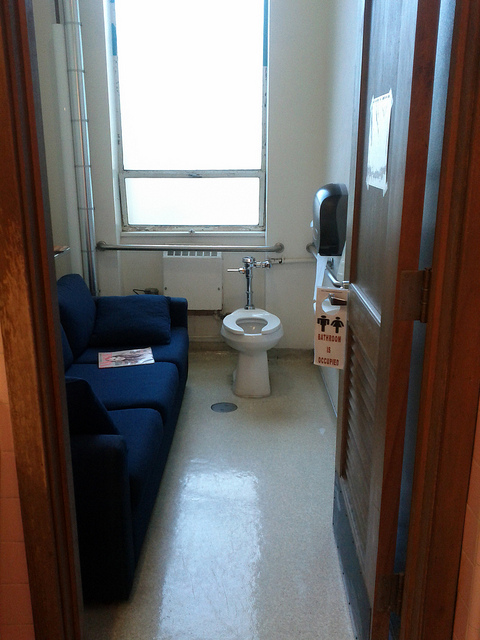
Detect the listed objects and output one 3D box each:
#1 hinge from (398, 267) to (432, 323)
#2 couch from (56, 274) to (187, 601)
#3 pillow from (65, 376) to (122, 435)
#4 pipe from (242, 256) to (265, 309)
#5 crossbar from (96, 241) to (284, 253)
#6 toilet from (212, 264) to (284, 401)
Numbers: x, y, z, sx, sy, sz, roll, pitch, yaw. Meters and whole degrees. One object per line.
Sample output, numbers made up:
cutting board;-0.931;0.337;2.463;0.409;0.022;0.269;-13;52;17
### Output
hinge;0.326;-0.048;0.896;0.055;0.101;0.029;5;11;28
couch;-0.499;0.488;2.061;0.260;0.438;1.047;-1;27;-7
pillow;-0.487;0.302;1.612;0.153;0.217;0.180;0;19;-9
pipe;0.108;-0.308;3.905;0.175;0.430;0.253;0;10;1
crossbar;-0.403;-0.611;3.949;1.520;0.102;0.203;0;12;0
toilet;0.079;0.057;3.521;0.309;0.874;0.580;-1;18;0
